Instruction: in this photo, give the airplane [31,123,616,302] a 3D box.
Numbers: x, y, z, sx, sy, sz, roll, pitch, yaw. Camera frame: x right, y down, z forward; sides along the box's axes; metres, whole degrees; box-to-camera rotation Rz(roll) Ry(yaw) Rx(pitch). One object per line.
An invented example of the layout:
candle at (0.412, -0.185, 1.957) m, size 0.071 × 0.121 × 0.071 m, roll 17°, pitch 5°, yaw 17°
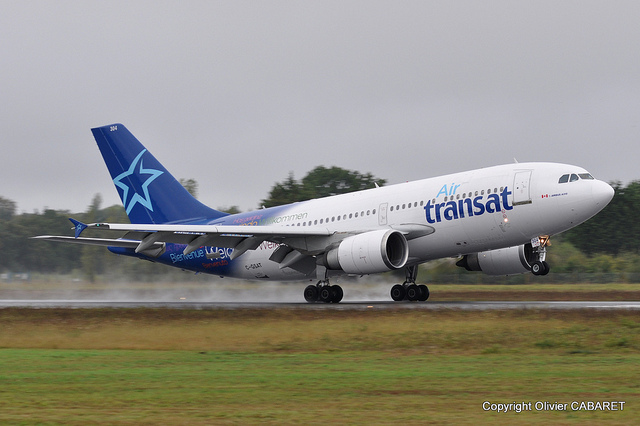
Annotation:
airplane at (-1.964, 0.428, 34.589) m, size 21.483 × 6.821 × 7.649 m, roll 5°, pitch 16°, yaw 28°
